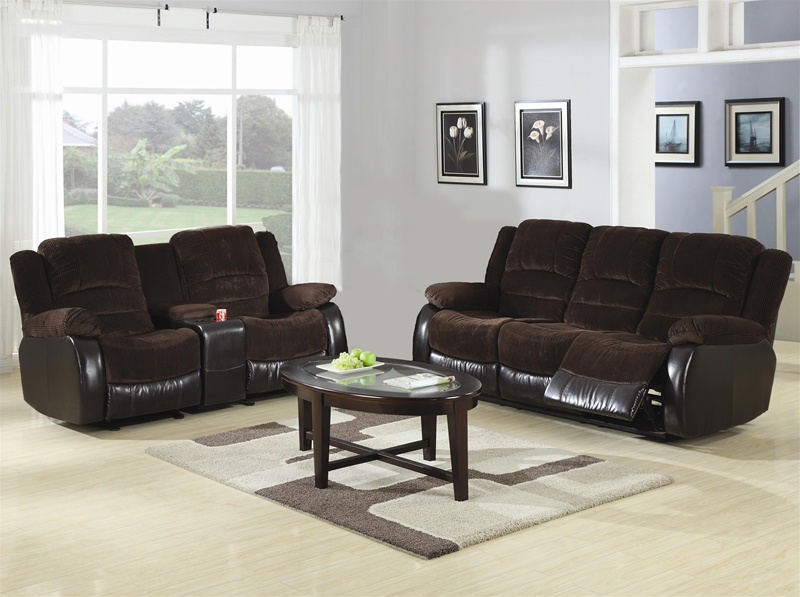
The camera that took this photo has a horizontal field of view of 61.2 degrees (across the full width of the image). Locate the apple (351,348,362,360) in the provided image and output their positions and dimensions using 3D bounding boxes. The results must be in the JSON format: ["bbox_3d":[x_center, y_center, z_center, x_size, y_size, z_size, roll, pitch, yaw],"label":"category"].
[{"bbox_3d":[-0.270,0.330,4.015,0.052,0.057,0.056,4,14,45],"label":"apple"}]

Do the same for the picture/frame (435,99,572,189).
[{"bbox_3d":[1.005,-1.462,6.317,1.126,0.567,0.037,5,9,40],"label":"picture/frame"}]

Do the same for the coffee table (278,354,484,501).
[{"bbox_3d":[-0.016,0.476,3.552,0.722,0.422,1.132,-4,7,-38],"label":"coffee table"}]

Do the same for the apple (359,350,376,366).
[{"bbox_3d":[-0.196,0.351,4.020,0.110,0.084,0.093,17,-6,0],"label":"apple"}]
